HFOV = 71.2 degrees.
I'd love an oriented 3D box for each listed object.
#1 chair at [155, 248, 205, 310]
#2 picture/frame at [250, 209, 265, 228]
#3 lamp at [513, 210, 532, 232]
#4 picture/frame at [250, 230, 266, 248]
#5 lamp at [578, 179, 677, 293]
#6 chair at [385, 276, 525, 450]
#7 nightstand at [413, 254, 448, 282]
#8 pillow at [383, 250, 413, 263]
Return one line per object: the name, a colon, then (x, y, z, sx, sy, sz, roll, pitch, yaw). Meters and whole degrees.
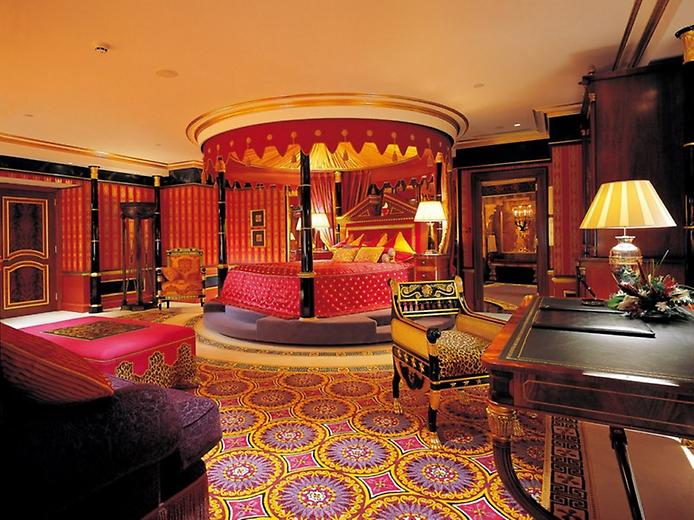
chair: (-2.909, 0.352, 8.501, 0.767, 1.045, 1.027, -5, 10, -18)
picture/frame: (-1.795, -0.829, 9.637, 0.350, 0.414, 0.043, 2, 3, 27)
lamp: (4.357, -0.979, 12.054, 0.185, 0.654, 0.483, -4, 7, -37)
picture/frame: (-1.779, -0.429, 9.629, 0.353, 0.414, 0.044, 0, -4, 20)
lamp: (1.857, -0.187, 3.225, 0.540, 0.611, 0.554, 0, -2, 33)
chair: (1.077, 0.687, 3.864, 1.084, 1.435, 1.038, 0, -3, -23)
nightstand: (1.262, 0.110, 7.088, 0.414, 0.587, 0.413, 1, -1, -42)
pillow: (0.751, -0.044, 7.504, 0.288, 0.117, 0.277, -7, -3, 44)
